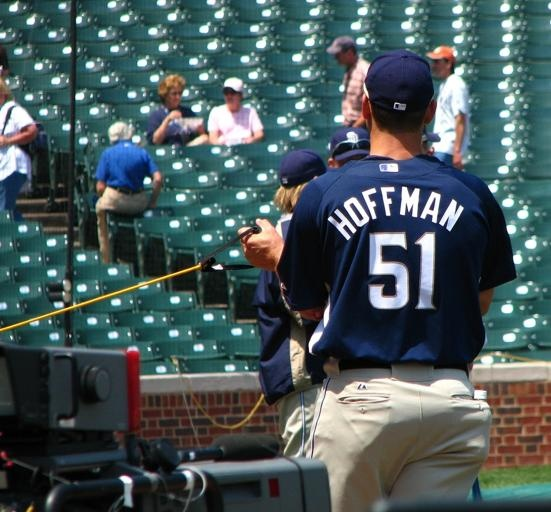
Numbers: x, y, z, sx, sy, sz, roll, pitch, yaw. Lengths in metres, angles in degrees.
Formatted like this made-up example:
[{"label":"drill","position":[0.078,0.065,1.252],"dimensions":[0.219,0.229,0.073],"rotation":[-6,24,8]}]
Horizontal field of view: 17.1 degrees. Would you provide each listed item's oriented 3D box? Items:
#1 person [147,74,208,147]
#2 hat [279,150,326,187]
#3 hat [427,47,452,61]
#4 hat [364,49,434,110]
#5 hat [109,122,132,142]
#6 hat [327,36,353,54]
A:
[{"label":"person","position":[-0.996,-1.432,18.666],"dimensions":[0.545,0.681,0.600],"rotation":[-15,31,-37]},{"label":"hat","position":[0.174,-0.661,13.775],"dimensions":[0.239,0.174,0.346],"rotation":[15,30,41]},{"label":"hat","position":[1.550,-1.899,17.444],"dimensions":[0.219,0.080,0.143],"rotation":[2,8,0]},{"label":"hat","position":[0.856,-1.167,12.491],"dimensions":[0.373,0.273,0.472],"rotation":[1,45,4]},{"label":"hat","position":[-1.508,-1.208,17.861],"dimensions":[0.179,0.204,0.222],"rotation":[-5,31,0]},{"label":"hat","position":[0.630,-2.087,18.351],"dimensions":[0.238,0.122,0.161],"rotation":[-15,17,6]}]
